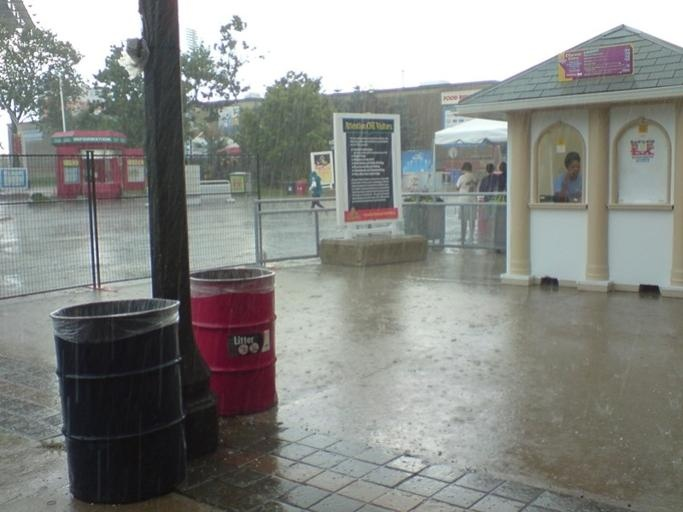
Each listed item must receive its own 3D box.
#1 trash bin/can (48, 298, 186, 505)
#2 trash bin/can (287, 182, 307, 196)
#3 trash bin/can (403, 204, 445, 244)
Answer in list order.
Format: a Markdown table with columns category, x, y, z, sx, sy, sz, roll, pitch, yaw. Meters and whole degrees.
| category | x | y | z | sx | sy | sz | roll | pitch | yaw |
| --- | --- | --- | --- | --- | --- | --- | --- | --- | --- |
| trash bin/can | -1.769 | 0.982 | 5.618 | 1.153 | 1.922 | 1.209 | -6 | 8 | -28 |
| trash bin/can | -3.884 | -5.781 | 57.088 | 1.400 | 1.464 | 1.463 | 7 | 13 | 41 |
| trash bin/can | 2.281 | -0.666 | 17.519 | 1.124 | 1.278 | 0.876 | 1 | 0 | 44 |
